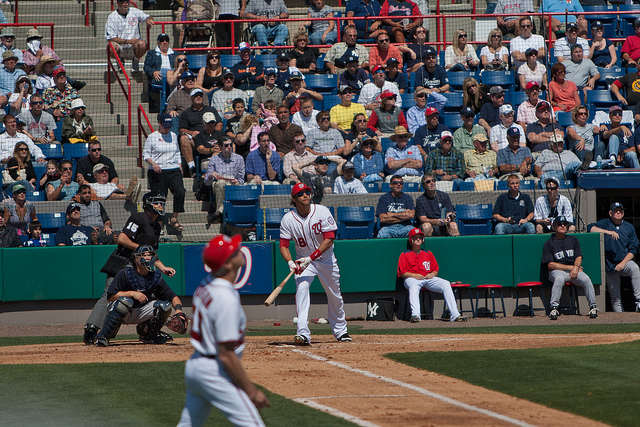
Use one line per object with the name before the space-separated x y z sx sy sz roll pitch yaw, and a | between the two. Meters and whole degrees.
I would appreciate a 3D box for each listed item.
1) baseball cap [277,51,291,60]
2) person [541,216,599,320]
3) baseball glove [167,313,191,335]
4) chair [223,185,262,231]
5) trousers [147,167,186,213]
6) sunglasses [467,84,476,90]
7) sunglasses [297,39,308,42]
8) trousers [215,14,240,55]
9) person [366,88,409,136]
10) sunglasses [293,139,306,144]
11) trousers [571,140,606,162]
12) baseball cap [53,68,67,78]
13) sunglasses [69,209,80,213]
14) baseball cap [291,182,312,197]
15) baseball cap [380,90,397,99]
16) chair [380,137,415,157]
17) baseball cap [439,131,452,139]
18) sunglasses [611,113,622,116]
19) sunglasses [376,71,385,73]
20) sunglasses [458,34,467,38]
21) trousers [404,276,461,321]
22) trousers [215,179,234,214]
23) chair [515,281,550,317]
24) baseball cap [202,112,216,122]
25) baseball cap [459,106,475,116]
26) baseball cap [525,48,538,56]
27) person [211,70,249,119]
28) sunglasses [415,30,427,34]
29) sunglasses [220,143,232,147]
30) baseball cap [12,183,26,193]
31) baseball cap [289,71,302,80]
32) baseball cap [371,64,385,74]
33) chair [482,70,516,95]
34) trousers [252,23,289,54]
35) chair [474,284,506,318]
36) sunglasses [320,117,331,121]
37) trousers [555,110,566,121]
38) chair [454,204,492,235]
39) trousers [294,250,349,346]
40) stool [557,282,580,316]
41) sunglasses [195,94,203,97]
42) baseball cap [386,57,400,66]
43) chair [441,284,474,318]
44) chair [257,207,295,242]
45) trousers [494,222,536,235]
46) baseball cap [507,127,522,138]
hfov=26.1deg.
baseball cap | -1.002 -4.421 38.605 0.350 0.195 0.561 2 3 -7
person | 6.024 1.267 33.785 1.205 2.372 0.938 -1 0 8
baseball glove | -3.084 2.342 30.501 0.453 0.345 0.205 3 38 27
chair | -2.008 -0.181 34.723 0.711 1.192 0.506 0 -1 -15
trousers | -3.897 -0.611 35.248 0.914 1.149 0.490 -1 0 1
sunglasses | 4.041 -3.419 37.158 0.202 0.127 0.059 -1 0 8
sunglasses | -0.494 -4.847 38.628 0.285 0.070 0.133 -1 0 -17
trousers | -2.658 -5.150 39.854 0.650 1.162 1.101 -1 0 11
person | 1.747 -2.753 36.996 1.101 1.543 1.117 0 9 -11
sunglasses | -0.515 -1.868 35.287 0.248 0.079 0.104 -1 0 -26
trousers | 6.998 -1.660 35.941 0.990 0.533 0.636 -1 0 -5
baseball cap | -7.024 -3.810 37.323 0.317 0.256 0.301 -1 0 -13
sunglasses | -6.038 -0.088 34.061 0.217 0.062 0.064 -1 0 -5
baseball cap | -0.423 -0.539 30.981 0.278 0.227 0.456 -19 -6 -25
baseball cap | 1.749 -3.185 36.666 0.299 0.138 0.215 -11 -4 43
chair | 1.973 -1.751 36.161 0.662 0.537 0.502 -1 1 32
baseball cap | 3.211 -2.023 35.365 0.290 0.188 0.347 -1 0 4
sunglasses | 7.824 -2.618 36.523 0.287 0.096 0.137 -1 0 -17
sunglasses | 1.604 -3.853 37.424 0.172 0.032 0.043 -3 -13 -2
sunglasses | 3.984 -5.016 38.912 0.238 0.088 0.116 -1 0 -16
trousers | 2.769 2.064 33.821 1.095 1.077 0.672 -7 -2 15
trousers | -2.486 -0.465 34.858 0.635 1.186 0.708 -1 2 -4
chair | 5.128 2.092 34.408 0.759 0.886 0.739 -2 3 -29
baseball cap | -2.871 -2.510 35.797 0.306 0.246 0.303 -1 0 -5
baseball cap | 3.826 -2.706 36.325 0.225 0.181 0.322 -1 3 -6
baseball cap | 5.875 -4.502 38.451 0.257 0.202 0.439 8 15 6
person | -2.483 -3.186 37.176 0.838 1.302 0.976 -1 0 35
sunglasses | 2.845 -5.161 39.003 0.270 0.073 0.138 -1 0 -20
sunglasses | -2.323 -1.750 35.003 0.195 0.094 0.090 -1 0 -35
baseball cap | -7.478 -0.652 34.202 0.389 0.227 0.238 -1 0 40
baseball cap | -0.666 -3.754 37.355 0.304 0.224 0.370 -1 0 -1
baseball cap | 1.571 -3.933 37.676 0.187 0.316 0.310 4 30 -13
chair | 4.930 -3.522 38.049 0.765 1.101 0.785 0 8 1
trousers | -1.425 -4.987 39.807 0.699 1.001 0.442 1 6 -5
chair | 4.183 2.164 34.227 0.781 0.890 0.781 -2 4 -1
sunglasses | 0.160 -2.471 35.933 0.132 0.082 0.325 -1 0 32
trousers | 6.371 -2.612 36.876 0.239 0.260 0.057 3 -6 6
chair | 3.813 0.108 35.044 0.811 1.075 0.760 -1 -4 -1
trousers | 0.035 1.803 30.820 0.963 2.138 1.217 -3 -10 0
stool | 6.189 2.091 34.457 0.730 1.044 0.730 0 -4 -3
sunglasses | -3.167 -3.101 36.178 0.189 0.066 0.108 -1 0 -27
baseball cap | 1.971 -4.192 37.955 0.308 0.153 0.454 -1 1 -7
chair | 3.490 2.182 34.087 0.620 0.878 0.618 -5 -5 37
chair | -1.130 0.286 34.635 0.840 1.259 0.852 -2 1 2
trousers | 4.852 0.355 34.430 0.562 0.246 0.418 1 -6 -3
baseball cap | 4.942 -2.100 35.501 0.303 0.247 0.292 -1 0 7
